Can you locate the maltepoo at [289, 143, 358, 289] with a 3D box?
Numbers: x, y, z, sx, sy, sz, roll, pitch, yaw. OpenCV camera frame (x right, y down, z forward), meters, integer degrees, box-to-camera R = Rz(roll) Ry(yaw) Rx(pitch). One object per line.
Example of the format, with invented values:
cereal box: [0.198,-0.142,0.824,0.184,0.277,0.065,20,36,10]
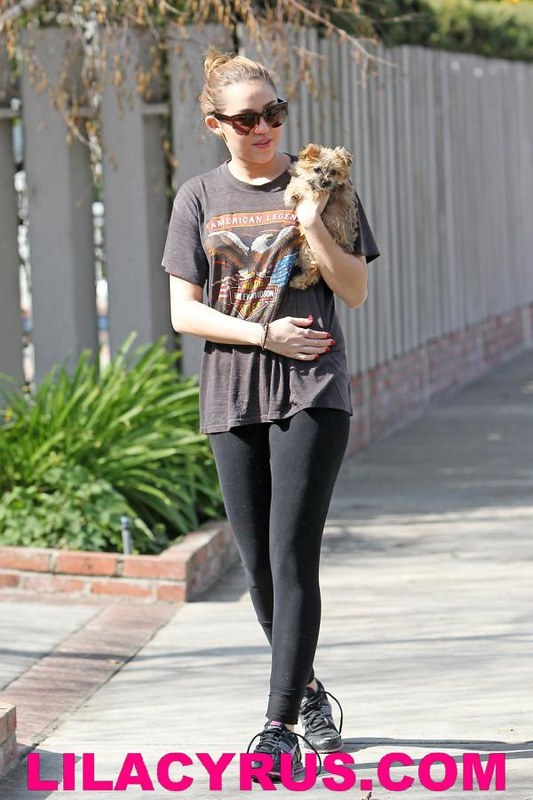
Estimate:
maltepoo: [0.148,-0.488,3.258,0.214,0.352,0.186,2,-3,-19]

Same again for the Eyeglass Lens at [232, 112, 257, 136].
Eyeglass Lens: [-0.048,-0.729,3.187,0.070,0.057,0.026,-4,11,-1]

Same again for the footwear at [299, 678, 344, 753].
footwear: [0.155,0.879,3.425,0.085,0.096,0.227,-6,6,-4]

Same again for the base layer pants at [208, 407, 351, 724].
base layer pants: [0.080,0.420,3.255,0.348,0.820,0.320,-6,11,-12]

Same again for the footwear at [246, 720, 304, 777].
footwear: [0.025,0.903,3.161,0.094,0.101,0.222,-1,-10,8]
